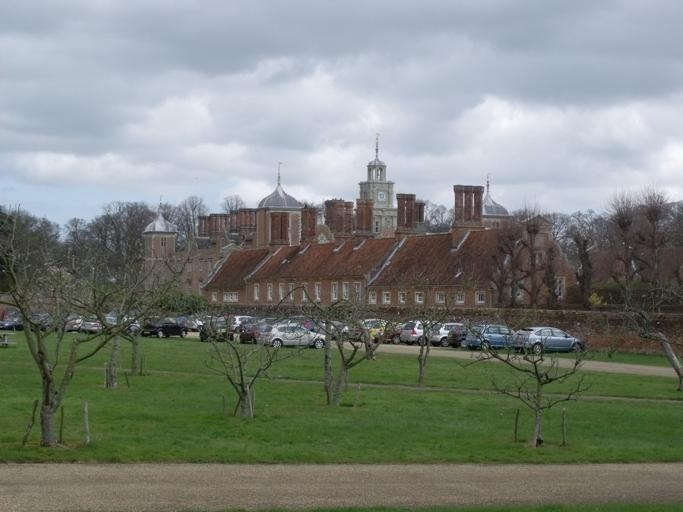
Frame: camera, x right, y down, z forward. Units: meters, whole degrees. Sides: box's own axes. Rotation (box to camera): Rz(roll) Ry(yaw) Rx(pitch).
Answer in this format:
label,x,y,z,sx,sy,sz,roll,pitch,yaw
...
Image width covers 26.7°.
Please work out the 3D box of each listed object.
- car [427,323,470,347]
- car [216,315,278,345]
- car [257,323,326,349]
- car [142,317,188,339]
label,x,y,z,sx,sy,sz,roll,pitch,yaw
car,5.711,4.117,74.307,2.574,1.322,1.474,-5,2,-2
car,-4.600,4.328,74.475,3.977,1.343,1.919,-3,0,-4
car,-2.555,4.452,71.246,3.432,1.171,1.873,-2,0,8
car,-10.007,4.243,81.882,2.572,1.241,2.263,-1,4,-20
